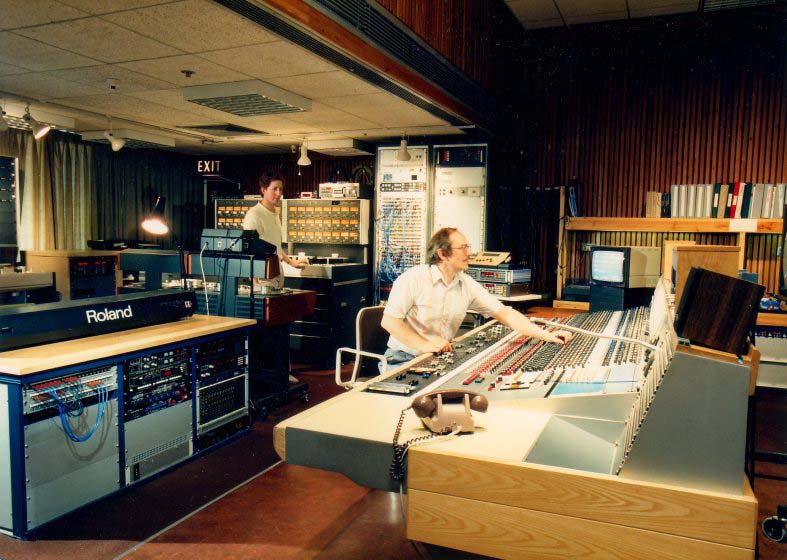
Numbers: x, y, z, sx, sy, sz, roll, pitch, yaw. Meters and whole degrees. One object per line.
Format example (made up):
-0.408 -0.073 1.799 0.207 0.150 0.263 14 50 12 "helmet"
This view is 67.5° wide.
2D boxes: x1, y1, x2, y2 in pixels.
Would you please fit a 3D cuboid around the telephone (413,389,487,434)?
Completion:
0.251 0.559 2.653 0.343 0.166 0.347 4 5 10 "telephone"

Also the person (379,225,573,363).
0.512 0.080 4.255 1.124 1.357 0.898 5 11 31 "person"

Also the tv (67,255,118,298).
-3.608 -0.056 7.071 0.124 0.510 0.641 3 9 24 "tv"

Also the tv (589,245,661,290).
2.236 -0.123 5.716 0.432 0.364 0.572 0 4 -18 "tv"

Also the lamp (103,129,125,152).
-3.552 -1.754 7.483 0.193 0.271 1.479 -5 9 -23 "lamp"
